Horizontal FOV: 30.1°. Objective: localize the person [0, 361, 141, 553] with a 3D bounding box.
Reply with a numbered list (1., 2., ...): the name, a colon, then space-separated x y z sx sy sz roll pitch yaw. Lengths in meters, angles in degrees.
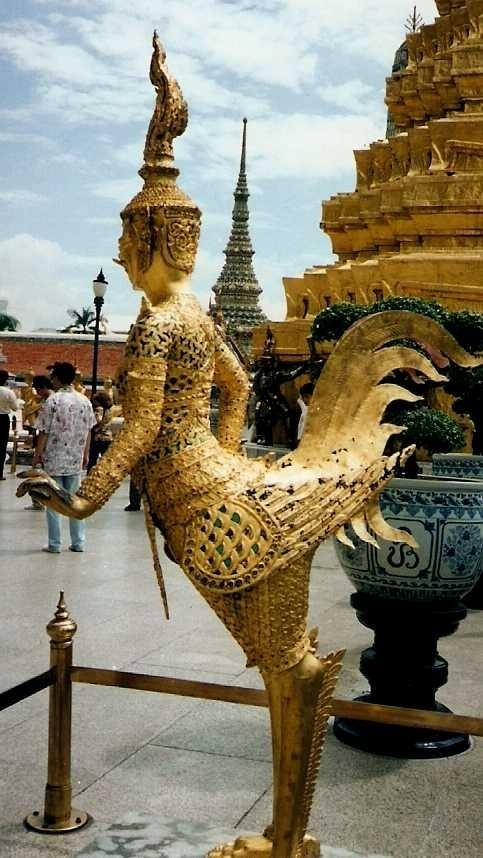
1. person: -1.464 0.231 7.355 0.466 1.552 0.889 4 4 -10
